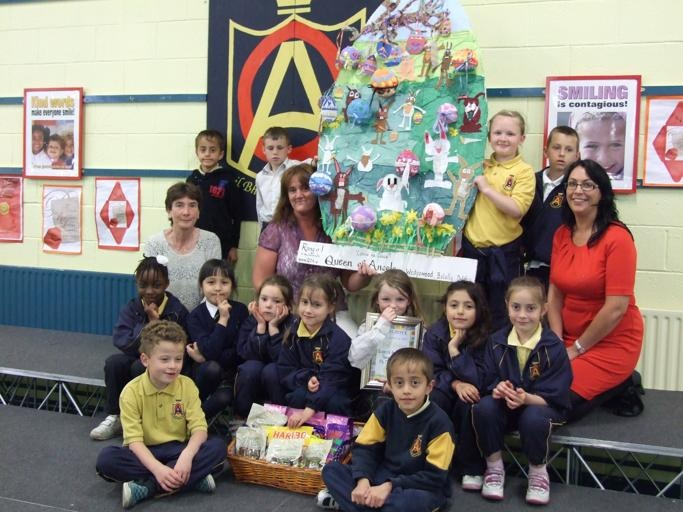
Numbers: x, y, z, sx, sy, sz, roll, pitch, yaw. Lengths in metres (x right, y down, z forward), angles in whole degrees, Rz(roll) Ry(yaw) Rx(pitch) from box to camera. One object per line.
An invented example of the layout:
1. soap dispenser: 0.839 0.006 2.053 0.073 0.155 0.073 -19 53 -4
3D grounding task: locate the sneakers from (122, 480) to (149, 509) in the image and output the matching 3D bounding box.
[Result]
1. sneakers: -1.034 1.202 3.473 0.133 0.128 0.079 -1 8 -23

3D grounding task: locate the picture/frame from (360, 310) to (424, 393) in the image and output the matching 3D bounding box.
1. picture/frame: 0.279 0.534 3.750 0.362 0.463 0.046 13 -2 -1

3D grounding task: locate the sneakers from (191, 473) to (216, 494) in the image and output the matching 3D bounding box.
1. sneakers: -0.706 1.205 3.604 0.156 0.070 0.055 -1 5 5

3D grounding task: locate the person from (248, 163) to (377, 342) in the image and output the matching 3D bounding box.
1. person: -0.135 -0.006 4.288 0.952 1.140 0.890 2 3 24

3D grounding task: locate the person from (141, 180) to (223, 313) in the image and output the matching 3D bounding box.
1. person: -1.069 -0.025 4.616 0.501 0.916 0.334 -5 20 -26

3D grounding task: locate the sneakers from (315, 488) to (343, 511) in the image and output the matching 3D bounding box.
1. sneakers: -0.061 1.248 3.484 0.134 0.072 0.055 2 1 -7

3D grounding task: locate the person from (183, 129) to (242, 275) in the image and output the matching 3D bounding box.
1. person: -0.985 -0.291 5.155 0.426 1.333 0.418 6 25 4

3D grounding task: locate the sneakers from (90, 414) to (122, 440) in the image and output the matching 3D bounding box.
1. sneakers: -1.397 1.025 4.123 0.088 0.101 0.214 8 2 20

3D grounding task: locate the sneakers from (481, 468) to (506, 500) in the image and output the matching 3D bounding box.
1. sneakers: 0.794 1.189 3.582 0.113 0.135 0.127 4 7 12

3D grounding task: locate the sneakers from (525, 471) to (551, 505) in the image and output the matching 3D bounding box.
1. sneakers: 1.026 1.184 3.563 0.119 0.147 0.211 4 7 17

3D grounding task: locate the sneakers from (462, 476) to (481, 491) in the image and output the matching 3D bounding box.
1. sneakers: 0.691 1.205 3.623 0.049 0.056 0.129 -1 -10 15

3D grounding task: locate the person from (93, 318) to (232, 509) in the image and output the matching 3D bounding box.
1. person: -0.938 0.805 3.595 0.643 0.896 0.330 -1 8 -23

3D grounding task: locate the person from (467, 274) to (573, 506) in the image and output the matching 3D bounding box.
1. person: 0.959 0.686 3.635 0.485 1.133 0.444 5 8 20
